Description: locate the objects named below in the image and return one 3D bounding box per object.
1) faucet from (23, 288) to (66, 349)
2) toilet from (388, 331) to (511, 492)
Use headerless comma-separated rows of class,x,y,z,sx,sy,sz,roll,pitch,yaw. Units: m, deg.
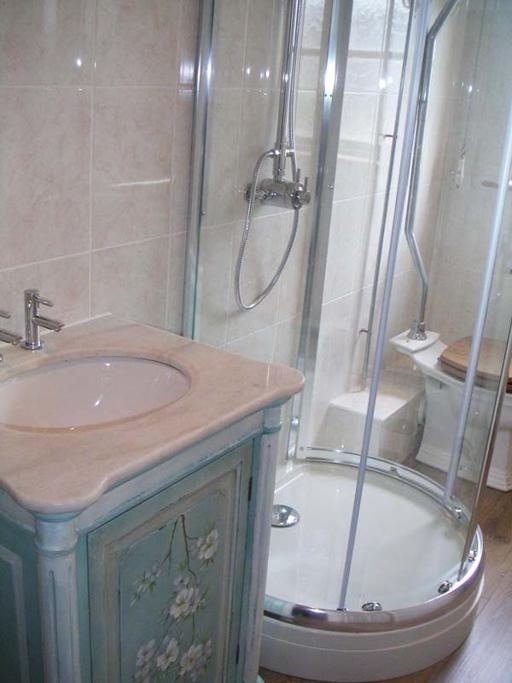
faucet,-0.363,-0.032,0.947,0.082,0.105,0.037,15,23,18
toilet,0.481,0.170,1.432,0.329,0.324,0.254,12,24,27
